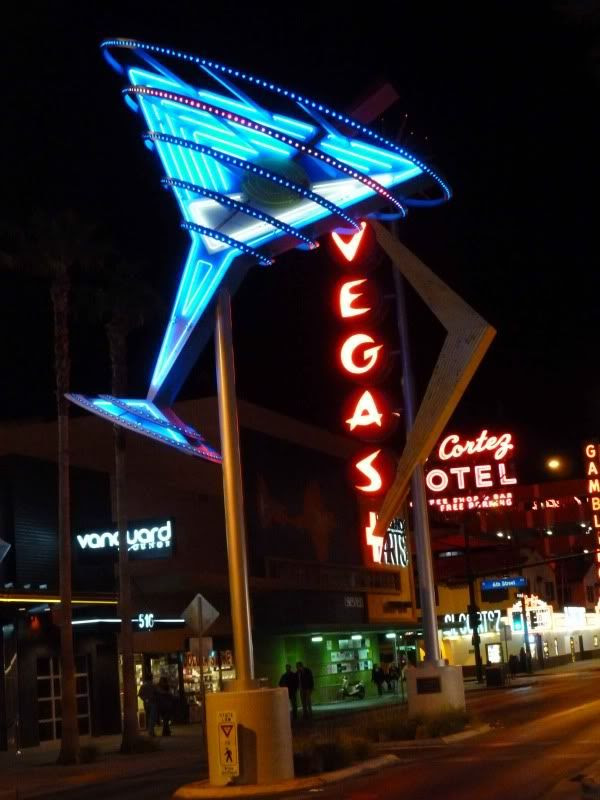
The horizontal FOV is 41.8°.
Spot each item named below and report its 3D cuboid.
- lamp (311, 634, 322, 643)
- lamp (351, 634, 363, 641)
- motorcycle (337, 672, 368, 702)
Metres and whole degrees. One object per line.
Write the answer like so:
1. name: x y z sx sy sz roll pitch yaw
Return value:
1. lamp: 0.787 11.078 36.116 0.179 0.337 1.247 -12 -17 19
2. lamp: 2.948 12.500 41.089 0.145 0.361 1.688 -11 -17 17
3. motorcycle: 2.407 14.167 38.103 1.774 1.178 0.627 4 -18 -15
